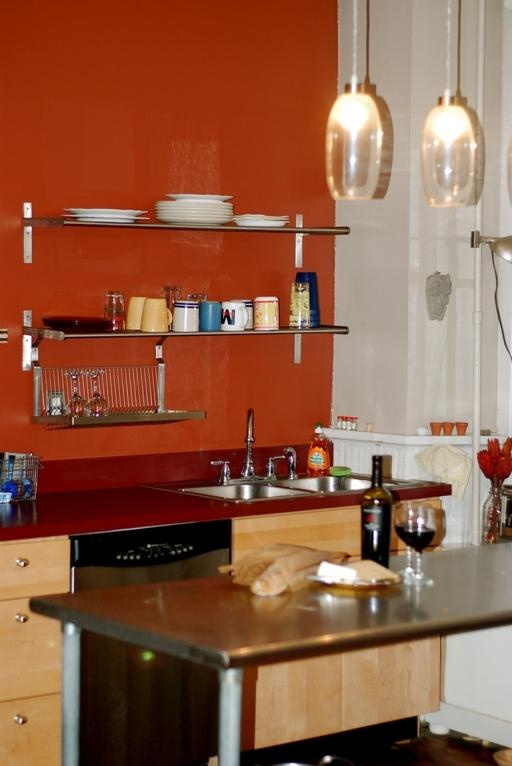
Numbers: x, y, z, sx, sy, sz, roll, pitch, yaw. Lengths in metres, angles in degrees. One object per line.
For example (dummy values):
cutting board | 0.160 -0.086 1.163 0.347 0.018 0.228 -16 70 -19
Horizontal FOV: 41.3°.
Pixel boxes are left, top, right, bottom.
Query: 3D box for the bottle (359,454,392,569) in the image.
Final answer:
bottle | 0.225 0.246 1.270 0.052 0.214 0.262 2 -4 11

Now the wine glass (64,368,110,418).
wine glass | -0.646 0.041 2.550 0.158 0.209 0.100 0 2 4

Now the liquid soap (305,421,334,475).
liquid soap | 0.291 0.310 3.130 0.105 0.235 0.225 3 -4 3
